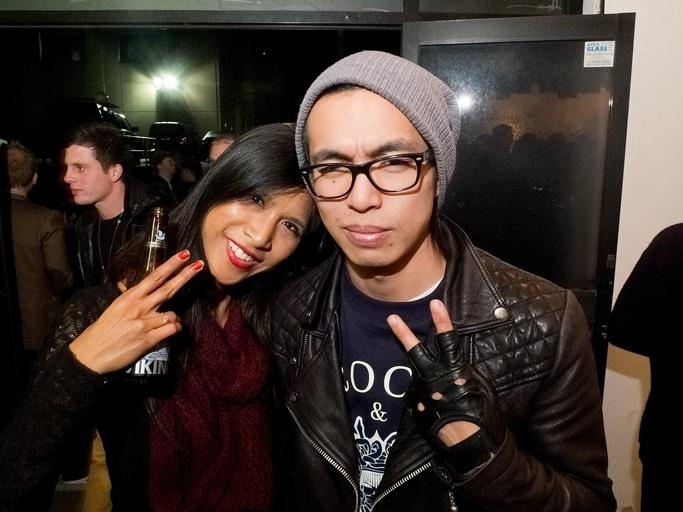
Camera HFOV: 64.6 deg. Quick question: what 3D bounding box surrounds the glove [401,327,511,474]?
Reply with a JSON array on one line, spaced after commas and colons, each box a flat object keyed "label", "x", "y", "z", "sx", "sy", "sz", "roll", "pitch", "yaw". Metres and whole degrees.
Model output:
[{"label": "glove", "x": 0.459, "y": 0.601, "z": 2.172, "sx": 0.360, "sy": 0.583, "sz": 0.187, "roll": -25, "pitch": -19, "yaw": 7}]

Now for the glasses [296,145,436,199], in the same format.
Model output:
[{"label": "glasses", "x": 0.086, "y": -0.345, "z": 2.372, "sx": 0.534, "sy": 0.209, "sz": 0.155, "roll": -1, "pitch": 14, "yaw": -2}]
